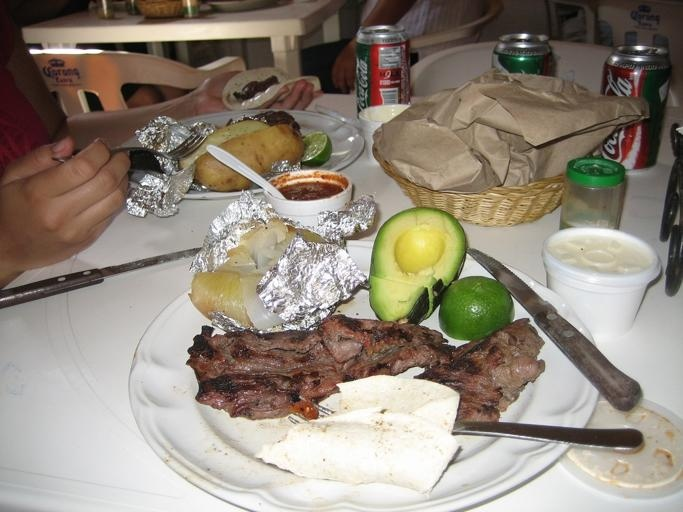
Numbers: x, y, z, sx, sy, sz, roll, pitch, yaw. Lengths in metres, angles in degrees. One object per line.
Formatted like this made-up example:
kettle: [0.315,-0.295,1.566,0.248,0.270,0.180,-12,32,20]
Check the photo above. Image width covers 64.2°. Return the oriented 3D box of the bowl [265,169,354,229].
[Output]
bowl: [-0.080,-0.180,1.534,0.264,0.164,0.182,17,29,40]

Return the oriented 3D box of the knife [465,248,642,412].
knife: [0.445,0.105,1.263,0.094,0.059,0.584,-29,44,-4]

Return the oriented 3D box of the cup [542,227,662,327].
cup: [0.588,0.073,1.285,0.235,0.176,0.231,-10,34,7]

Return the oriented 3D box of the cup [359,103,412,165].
cup: [0.159,-0.454,1.922,0.182,0.152,0.201,-3,32,3]

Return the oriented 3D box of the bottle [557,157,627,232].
bottle: [0.617,-0.153,1.346,0.139,0.158,0.140,12,38,25]

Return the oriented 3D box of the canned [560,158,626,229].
canned: [0.619,-0.153,1.343,0.122,0.137,0.120,-22,36,-23]

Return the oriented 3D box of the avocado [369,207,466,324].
avocado: [0.198,0.036,1.371,0.237,0.119,0.311,8,61,26]

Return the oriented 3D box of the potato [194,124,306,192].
potato: [-0.284,-0.341,1.847,0.375,0.150,0.172,-23,37,-14]

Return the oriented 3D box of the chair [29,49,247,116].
chair: [-1.256,-1.602,4.320,1.757,0.651,1.038,6,25,23]

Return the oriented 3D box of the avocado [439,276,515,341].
avocado: [0.315,0.113,1.263,0.170,0.099,0.167,-15,30,-13]
